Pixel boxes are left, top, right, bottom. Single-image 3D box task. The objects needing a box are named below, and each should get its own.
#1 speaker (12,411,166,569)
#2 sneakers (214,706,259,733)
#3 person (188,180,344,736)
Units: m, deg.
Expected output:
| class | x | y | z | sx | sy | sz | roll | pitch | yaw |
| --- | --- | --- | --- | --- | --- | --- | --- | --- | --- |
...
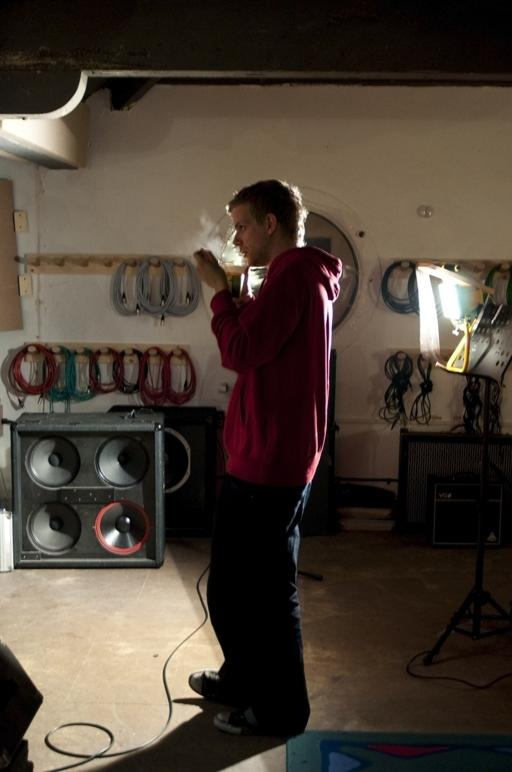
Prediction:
| class | x | y | z | sx | sy | sz | roll | pitch | yaw |
| --- | --- | --- | --- | --- | --- | --- | --- | --- | --- |
| speaker | -0.838 | 0.530 | 3.543 | 0.721 | 0.709 | 0.527 | 0 | 1 | -4 |
| sneakers | -0.057 | 0.985 | 2.051 | 0.131 | 0.052 | 0.063 | 7 | 3 | 18 |
| person | -0.004 | 0.261 | 1.805 | 0.341 | 1.553 | 0.447 | -3 | 6 | -37 |
